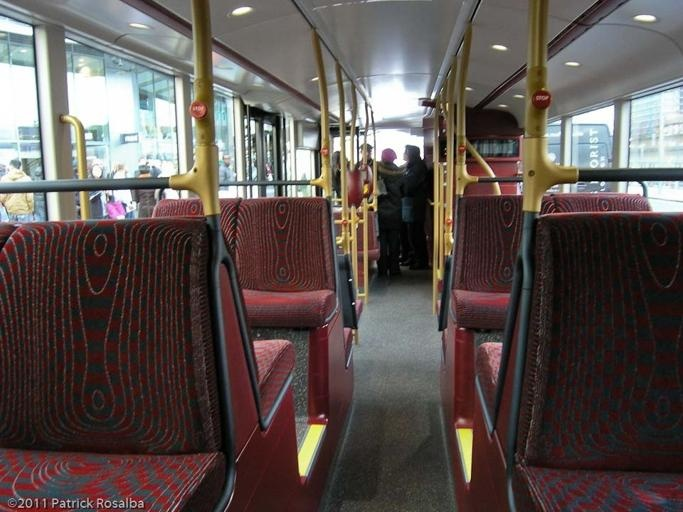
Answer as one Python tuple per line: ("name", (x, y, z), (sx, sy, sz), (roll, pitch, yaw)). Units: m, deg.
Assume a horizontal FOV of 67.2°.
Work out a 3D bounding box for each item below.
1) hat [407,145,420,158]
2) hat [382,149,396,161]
("hat", (1.221, -1.797, 8.838), (0.171, 0.240, 0.241), (6, 16, 1))
("hat", (0.802, -1.724, 8.718), (0.190, 0.178, 0.193), (-9, 18, -28))
